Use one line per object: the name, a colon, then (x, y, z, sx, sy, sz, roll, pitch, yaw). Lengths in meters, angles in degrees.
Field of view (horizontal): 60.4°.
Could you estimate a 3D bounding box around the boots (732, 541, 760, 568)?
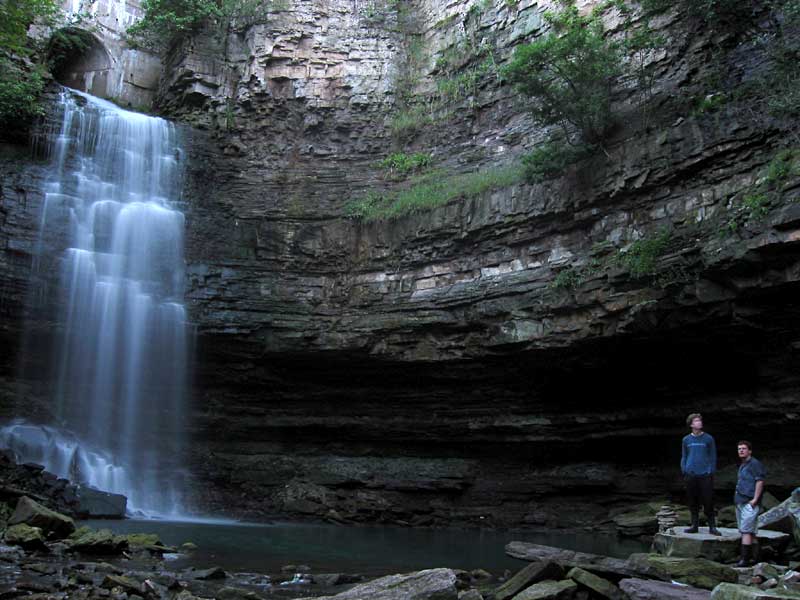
boots: (6.430, 4.623, 12.624, 0.375, 0.426, 0.535, -3, -10, 22)
